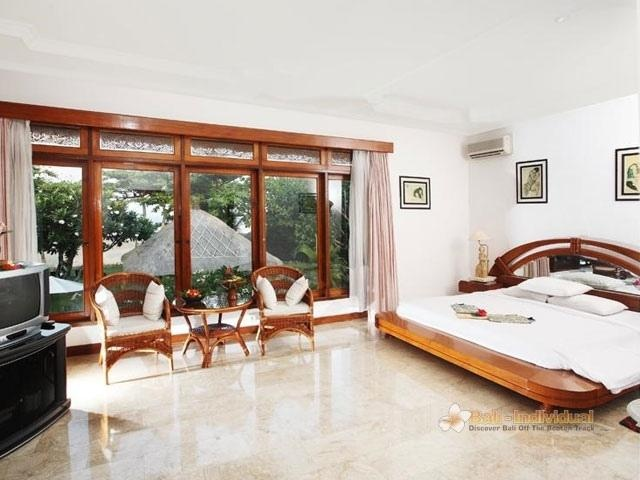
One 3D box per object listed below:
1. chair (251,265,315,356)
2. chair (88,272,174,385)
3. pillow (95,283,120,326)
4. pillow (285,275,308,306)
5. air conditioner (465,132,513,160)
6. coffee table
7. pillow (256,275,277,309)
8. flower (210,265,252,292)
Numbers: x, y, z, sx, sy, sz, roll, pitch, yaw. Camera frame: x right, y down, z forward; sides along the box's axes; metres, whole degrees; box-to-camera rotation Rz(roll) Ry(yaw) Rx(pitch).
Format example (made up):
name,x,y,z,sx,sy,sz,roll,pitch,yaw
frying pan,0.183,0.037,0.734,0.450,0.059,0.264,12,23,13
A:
name,x,y,z,sx,sy,sz,roll,pitch,yaw
chair,-0.582,0.895,6.066,1.015,1.260,1.043,0,-6,-15
chair,-2.291,0.958,5.465,1.245,1.533,1.170,-1,-3,-30
pillow,-2.431,0.724,4.954,0.175,0.368,0.438,-16,-20,-1
pillow,-0.318,0.683,5.878,0.187,0.334,0.342,35,-14,-17
air conditioner,2.810,-1.599,7.373,0.313,0.464,0.892,-6,14,-21
coffee table,-1.323,1.125,5.444,0.846,0.595,0.879,-2,-2,38
pillow,-0.714,0.681,5.687,0.195,0.312,0.351,-12,48,-23
flower,-1.257,0.499,5.891,0.453,0.297,0.454,1,-7,-1
